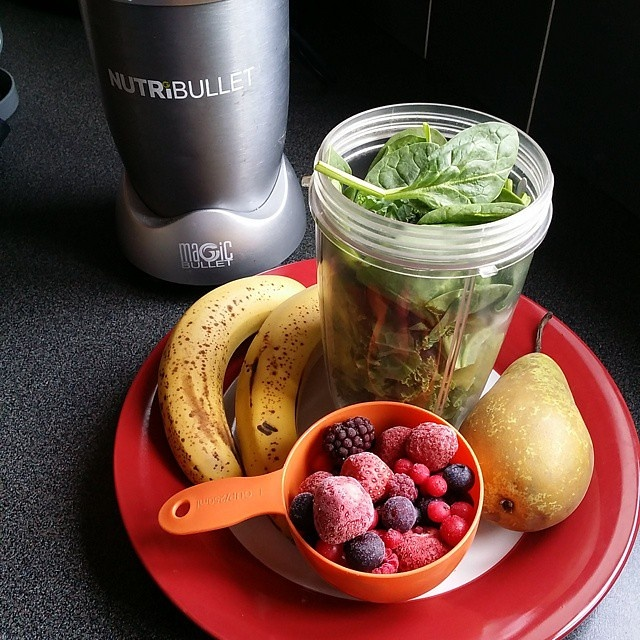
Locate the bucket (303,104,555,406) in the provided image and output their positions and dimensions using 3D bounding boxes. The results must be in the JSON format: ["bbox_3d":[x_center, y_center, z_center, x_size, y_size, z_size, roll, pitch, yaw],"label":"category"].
[{"bbox_3d":[0.077,-0.061,0.579,0.191,0.265,0.235,-1,47,1],"label":"bucket"}]

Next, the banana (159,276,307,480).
[{"bbox_3d":[-0.089,0.046,0.605,0.097,0.059,0.257,8,43,5],"label":"banana"}]

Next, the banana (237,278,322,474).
[{"bbox_3d":[-0.027,0.043,0.612,0.058,0.049,0.209,24,55,-15],"label":"banana"}]

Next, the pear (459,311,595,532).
[{"bbox_3d":[0.169,0.071,0.518,0.080,0.098,0.199,12,53,16],"label":"pear"}]
